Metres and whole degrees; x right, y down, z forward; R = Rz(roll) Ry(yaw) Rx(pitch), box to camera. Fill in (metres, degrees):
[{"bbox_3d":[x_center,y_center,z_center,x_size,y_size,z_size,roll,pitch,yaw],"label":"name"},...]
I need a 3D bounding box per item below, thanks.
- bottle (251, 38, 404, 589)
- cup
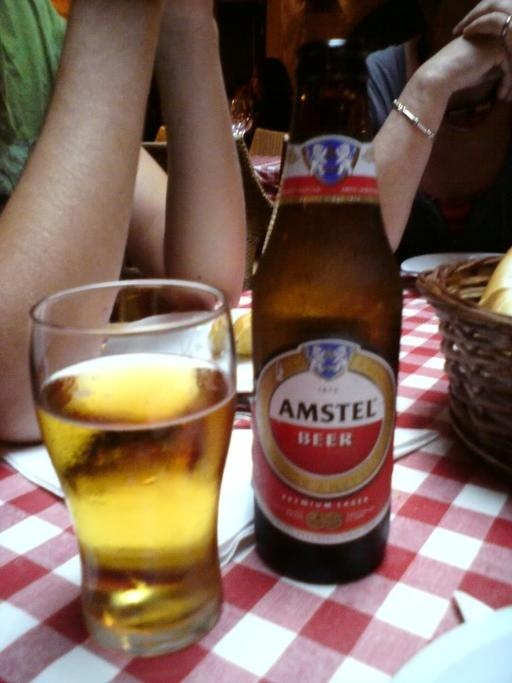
[{"bbox_3d":[0.037,-0.002,0.439,0.097,0.377,0.101,1,12,0],"label":"bottle"},{"bbox_3d":[-0.087,0.065,0.409,0.115,0.232,0.129,5,13,22],"label":"cup"}]
